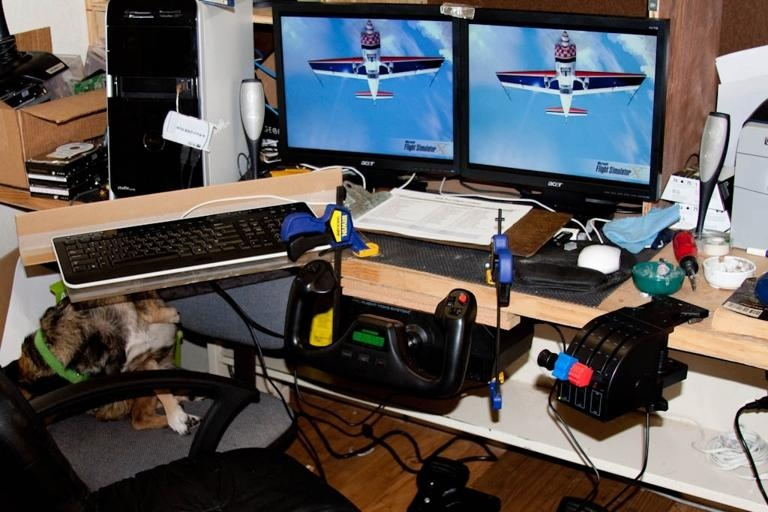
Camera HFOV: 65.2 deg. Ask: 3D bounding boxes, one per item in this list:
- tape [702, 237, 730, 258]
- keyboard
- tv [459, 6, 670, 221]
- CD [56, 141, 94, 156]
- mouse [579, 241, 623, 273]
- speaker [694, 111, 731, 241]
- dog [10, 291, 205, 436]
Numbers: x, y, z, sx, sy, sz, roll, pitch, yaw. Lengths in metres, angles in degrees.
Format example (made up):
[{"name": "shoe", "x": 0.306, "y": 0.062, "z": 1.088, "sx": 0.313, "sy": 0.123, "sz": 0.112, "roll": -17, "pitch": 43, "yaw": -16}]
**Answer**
[{"name": "tape", "x": 0.847, "y": -0.025, "z": 1.557, "sx": 0.057, "sy": 0.033, "sz": 0.056, "roll": -19, "pitch": 30, "yaw": -35}, {"name": "keyboard", "x": -0.528, "y": -0.016, "z": 1.503, "sx": 0.546, "sy": 0.102, "sz": 0.173, "roll": -5, "pitch": 22, "yaw": -16}, {"name": "tv", "x": 0.508, "y": -0.396, "z": 1.660, "sx": 0.555, "sy": 0.509, "sz": 0.181, "roll": 13, "pitch": 29, "yaw": 26}, {"name": "CD", "x": -1.040, "y": -0.354, "z": 2.020, "sx": 0.097, "sy": 0.023, "sz": 0.127, "roll": 6, "pitch": 22, "yaw": 13}, {"name": "mouse", "x": 0.529, "y": 0.008, "z": 1.484, "sx": 0.086, "sy": 0.054, "sz": 0.138, "roll": 21, "pitch": 29, "yaw": 40}, {"name": "speaker", "x": 0.874, "y": -0.226, "z": 1.634, "sx": 0.062, "sy": 0.307, "sz": 0.230, "roll": 13, "pitch": 24, "yaw": 26}, {"name": "dog", "x": -0.682, "y": 0.343, "z": 1.848, "sx": 0.757, "sy": 0.280, "sz": 0.470, "roll": -3, "pitch": -17, "yaw": 7}]
